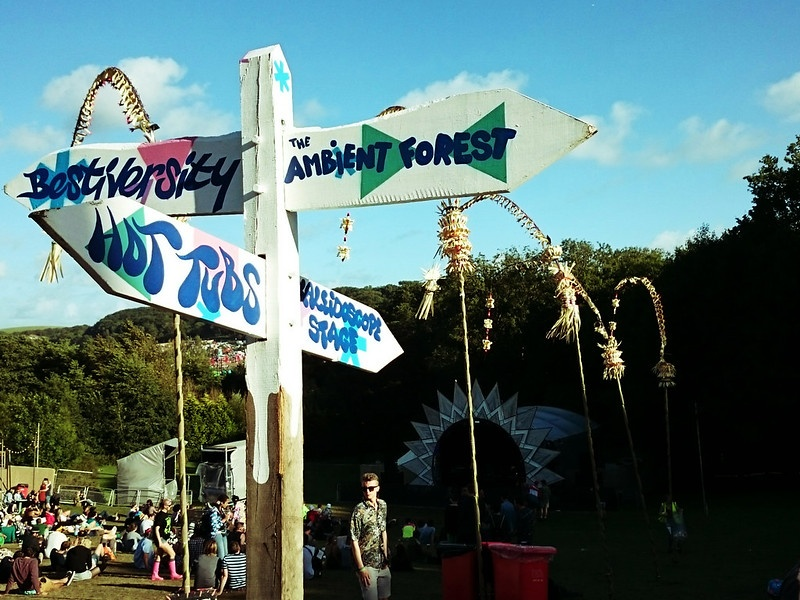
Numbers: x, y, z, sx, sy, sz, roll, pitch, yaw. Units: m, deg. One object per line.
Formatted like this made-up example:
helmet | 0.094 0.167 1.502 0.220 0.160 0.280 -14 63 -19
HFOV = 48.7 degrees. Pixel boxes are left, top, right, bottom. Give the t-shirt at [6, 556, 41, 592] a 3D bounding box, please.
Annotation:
t-shirt | -8.958 6.600 21.351 0.806 0.997 0.435 5 -16 1

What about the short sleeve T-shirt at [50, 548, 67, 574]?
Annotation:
short sleeve T-shirt | -8.684 6.668 22.599 0.620 0.686 0.231 1 1 -5

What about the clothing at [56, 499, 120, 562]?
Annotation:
clothing | -9.061 6.961 26.360 1.728 2.063 2.159 10 -17 -26

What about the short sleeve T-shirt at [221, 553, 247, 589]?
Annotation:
short sleeve T-shirt | -3.700 6.024 19.634 0.469 0.760 0.714 2 -16 -13

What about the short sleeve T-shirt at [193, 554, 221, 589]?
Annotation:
short sleeve T-shirt | -4.422 6.274 20.357 0.648 1.003 0.502 3 -5 -6

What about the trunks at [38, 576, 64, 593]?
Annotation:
trunks | -8.491 6.941 21.524 0.250 0.288 0.706 -18 -18 27

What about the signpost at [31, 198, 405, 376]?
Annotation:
signpost | -5.123 0.455 22.363 7.883 1.727 0.369 26 -27 -31

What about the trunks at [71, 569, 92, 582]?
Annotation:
trunks | -8.138 7.064 22.586 0.367 0.120 0.398 -15 -61 5

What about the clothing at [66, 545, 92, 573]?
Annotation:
clothing | -8.132 6.580 22.366 0.698 0.737 0.392 2 -5 -15
